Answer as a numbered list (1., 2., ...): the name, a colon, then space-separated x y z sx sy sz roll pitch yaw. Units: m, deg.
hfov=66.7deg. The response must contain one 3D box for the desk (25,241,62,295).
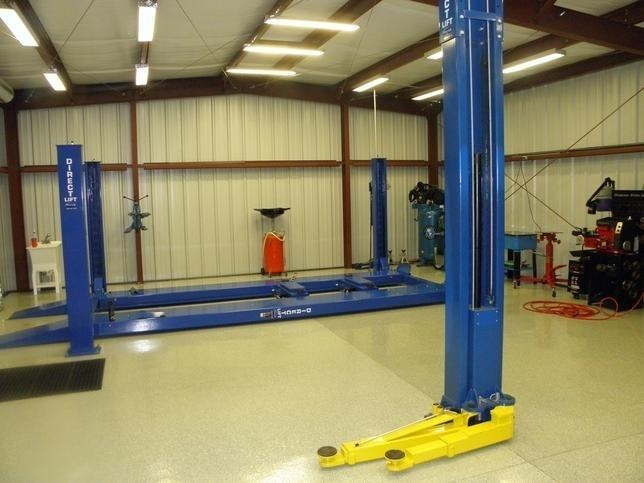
1. desk: -5.411 0.538 9.619 0.566 1.094 0.866 -8 15 -29

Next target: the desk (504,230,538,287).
1. desk: 3.951 0.307 9.737 0.629 1.128 1.386 5 14 23
